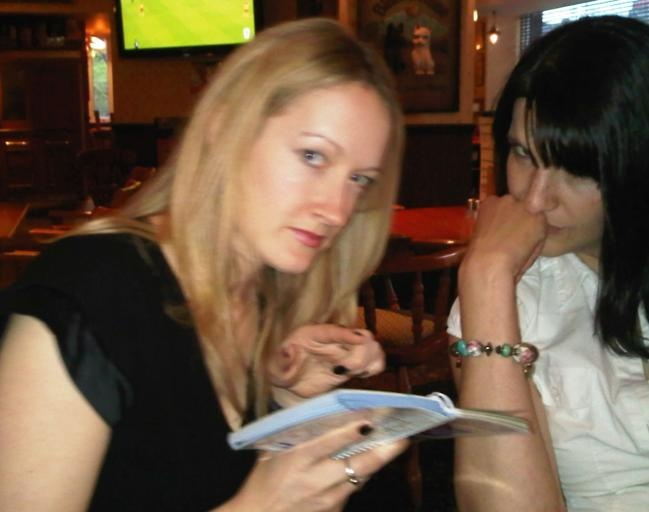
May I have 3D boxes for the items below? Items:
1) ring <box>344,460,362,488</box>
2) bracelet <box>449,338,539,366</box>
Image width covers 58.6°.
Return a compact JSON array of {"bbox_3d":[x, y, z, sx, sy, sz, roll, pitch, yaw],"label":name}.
[{"bbox_3d":[0.058,0.433,1.138,0.036,0.071,0.020,-5,15,-8],"label":"ring"},{"bbox_3d":[0.394,0.211,1.410,0.236,0.074,0.073,4,6,12],"label":"bracelet"}]
